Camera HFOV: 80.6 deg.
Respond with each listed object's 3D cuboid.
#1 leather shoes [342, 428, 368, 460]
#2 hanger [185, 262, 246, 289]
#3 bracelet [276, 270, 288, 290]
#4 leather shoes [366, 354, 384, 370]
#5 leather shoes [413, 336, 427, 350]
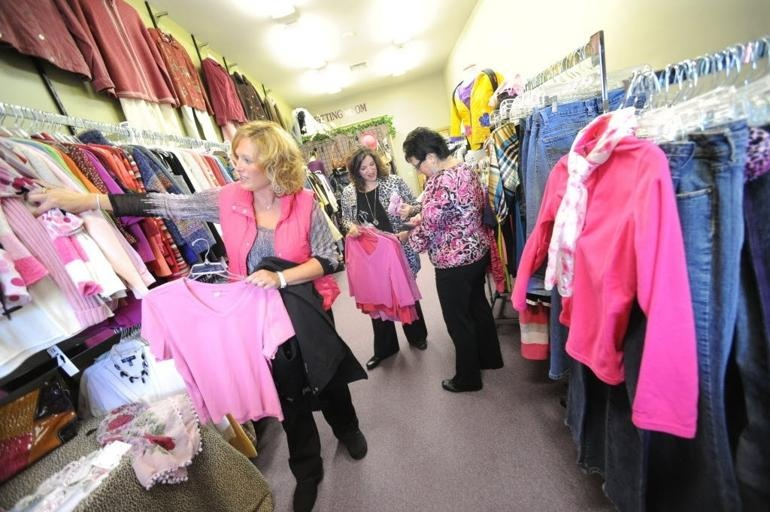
[{"bbox_3d":[-0.172,1.122,2.767,0.114,0.198,0.130,-37,-20,-4],"label":"leather shoes"},{"bbox_3d":[-0.843,0.085,2.260,0.225,0.137,0.107,-18,17,-19],"label":"hanger"},{"bbox_3d":[-0.496,0.117,2.204,0.041,0.092,0.039,-18,18,-20],"label":"bracelet"},{"bbox_3d":[-0.084,0.817,3.504,0.056,0.073,0.169,8,24,43],"label":"leather shoes"},{"bbox_3d":[0.281,0.684,3.552,0.065,0.051,0.117,-18,10,-10],"label":"leather shoes"}]
